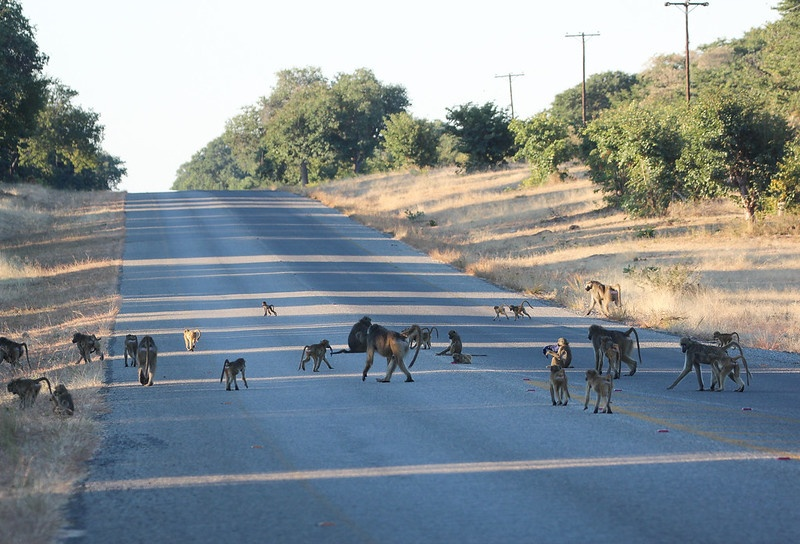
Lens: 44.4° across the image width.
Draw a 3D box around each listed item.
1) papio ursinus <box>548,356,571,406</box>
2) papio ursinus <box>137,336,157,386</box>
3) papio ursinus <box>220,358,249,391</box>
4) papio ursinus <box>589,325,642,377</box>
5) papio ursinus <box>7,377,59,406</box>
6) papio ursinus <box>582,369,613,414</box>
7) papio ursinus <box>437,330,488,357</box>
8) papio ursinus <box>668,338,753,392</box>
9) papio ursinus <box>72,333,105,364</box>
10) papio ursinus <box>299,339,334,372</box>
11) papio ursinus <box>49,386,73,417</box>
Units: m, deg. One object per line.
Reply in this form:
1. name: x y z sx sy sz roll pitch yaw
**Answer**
1. papio ursinus: 3.952 2.702 24.251 0.499 0.977 1.387 -3 1 10
2. papio ursinus: -6.623 2.299 25.465 0.459 1.296 0.622 -3 1 -18
3. papio ursinus: -4.356 2.641 25.459 0.699 0.792 0.990 -3 1 -10
4. papio ursinus: 5.765 2.116 26.644 0.545 1.322 1.999 1 2 -35
5. papio ursinus: -8.829 2.835 23.252 0.788 0.703 1.137 -3 1 -34
6. papio ursinus: 4.743 2.826 23.323 0.359 1.020 1.262 6 -6 -15
7. papio ursinus: 2.016 2.111 28.593 1.892 0.899 0.593 0 1 2
8. papio ursinus: 7.853 2.398 24.888 1.895 1.309 0.726 1 1 30
9. papio ursinus: -8.898 2.127 27.843 0.795 0.893 1.193 -3 1 -17
10. papio ursinus: -2.418 2.332 27.610 0.961 0.808 1.228 -3 1 -5
11. papio ursinus: -7.928 2.985 22.862 0.474 0.750 0.515 -3 1 -21
